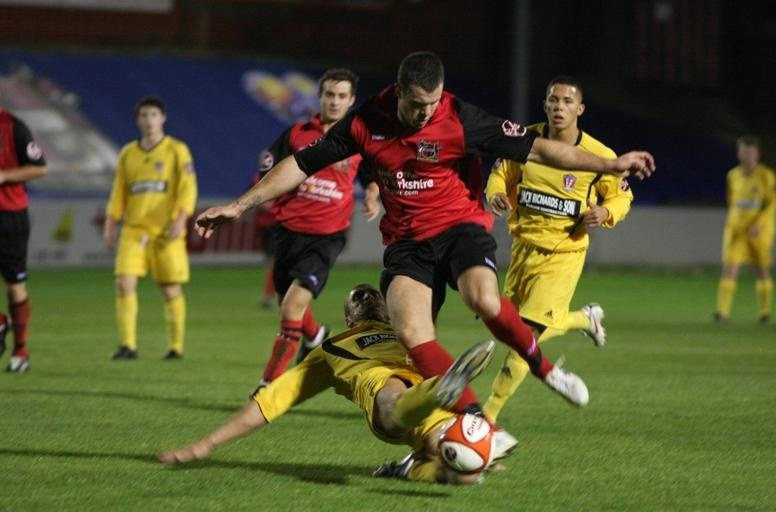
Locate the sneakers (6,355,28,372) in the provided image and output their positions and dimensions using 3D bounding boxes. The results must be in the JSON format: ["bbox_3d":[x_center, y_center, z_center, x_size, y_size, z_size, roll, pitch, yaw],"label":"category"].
[{"bbox_3d":[-3.745,1.098,10.827,0.210,0.187,0.149,-2,-7,15],"label":"sneakers"}]

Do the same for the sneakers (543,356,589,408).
[{"bbox_3d":[1.544,1.097,9.253,0.466,0.204,0.259,36,-3,8],"label":"sneakers"}]

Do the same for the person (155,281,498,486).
[{"bbox_3d":[-0.246,1.102,8.794,2.198,1.376,0.764,6,8,8],"label":"person"}]

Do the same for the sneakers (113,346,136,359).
[{"bbox_3d":[-2.693,1.002,10.972,0.259,0.136,0.077,2,9,-20],"label":"sneakers"}]

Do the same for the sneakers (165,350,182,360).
[{"bbox_3d":[-2.210,1.028,11.069,0.180,0.108,0.095,-4,5,-4],"label":"sneakers"}]

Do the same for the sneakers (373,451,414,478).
[{"bbox_3d":[-0.003,1.758,8.856,0.451,0.171,0.146,-3,-16,19],"label":"sneakers"}]
